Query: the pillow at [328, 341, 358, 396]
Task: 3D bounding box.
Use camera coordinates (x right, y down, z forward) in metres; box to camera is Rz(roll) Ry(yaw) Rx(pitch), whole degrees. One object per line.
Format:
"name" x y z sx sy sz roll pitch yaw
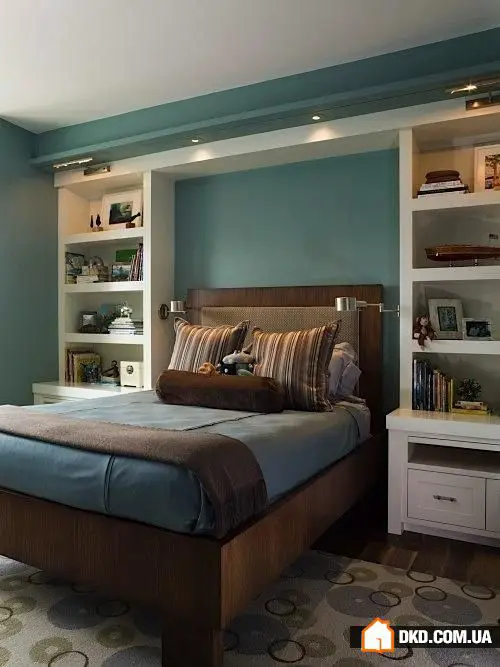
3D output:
"pillow" 0.548 0.208 3.058 0.250 0.278 0.086 19 -21 -40

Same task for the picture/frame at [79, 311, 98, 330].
"picture/frame" -1.375 -0.103 4.414 0.125 0.210 0.116 6 -17 -43

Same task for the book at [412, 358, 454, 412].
"book" 1.050 0.275 2.839 0.277 0.320 0.251 0 0 27

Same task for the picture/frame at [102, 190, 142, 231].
"picture/frame" -1.023 -0.983 4.212 0.425 0.347 0.041 0 -5 29

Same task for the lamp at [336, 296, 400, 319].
"lamp" 0.700 -0.160 2.978 0.508 0.115 0.157 2 0 -6

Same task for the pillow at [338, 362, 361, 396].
"pillow" 0.588 0.269 3.090 0.067 0.181 0.163 0 -20 39

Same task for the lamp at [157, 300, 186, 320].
"lamp" -0.595 -0.176 3.915 0.211 0.131 0.141 -4 -4 38

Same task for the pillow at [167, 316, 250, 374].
"pillow" -0.236 0.073 3.190 0.363 0.279 0.123 -5 -30 28

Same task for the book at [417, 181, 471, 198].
"book" 1.024 -0.773 2.796 0.246 0.096 0.105 0 -2 19

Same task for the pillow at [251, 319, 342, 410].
"pillow" 0.258 0.183 2.793 0.460 0.400 0.174 -4 -28 40

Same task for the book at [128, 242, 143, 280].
"book" -0.868 -0.547 4.024 0.055 0.292 0.202 2 -3 -40

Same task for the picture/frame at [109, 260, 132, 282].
"picture/frame" -1.047 -0.502 4.234 0.224 0.151 0.031 1 -9 37

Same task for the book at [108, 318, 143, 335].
"book" -0.975 -0.051 4.097 0.180 0.061 0.175 4 6 9
